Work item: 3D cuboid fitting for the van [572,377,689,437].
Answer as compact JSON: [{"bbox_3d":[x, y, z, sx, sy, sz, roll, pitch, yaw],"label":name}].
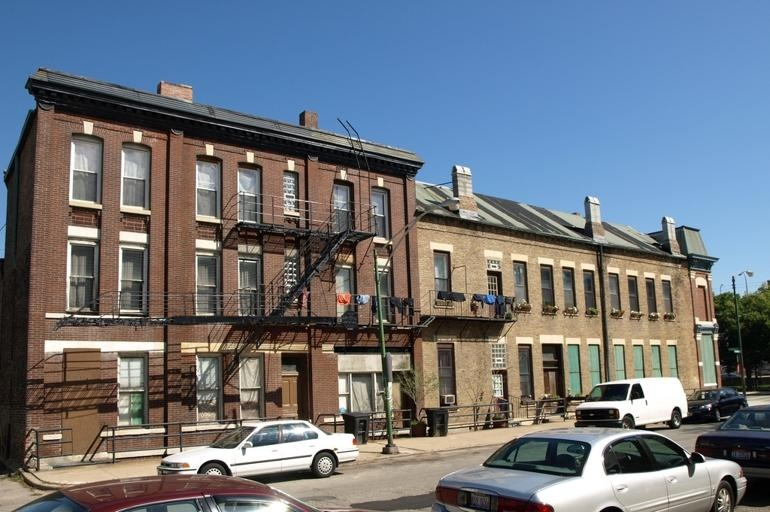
[{"bbox_3d":[11.129,6.830,35.914,5.234,1.869,2.593,10,-17,-35],"label":"van"}]
